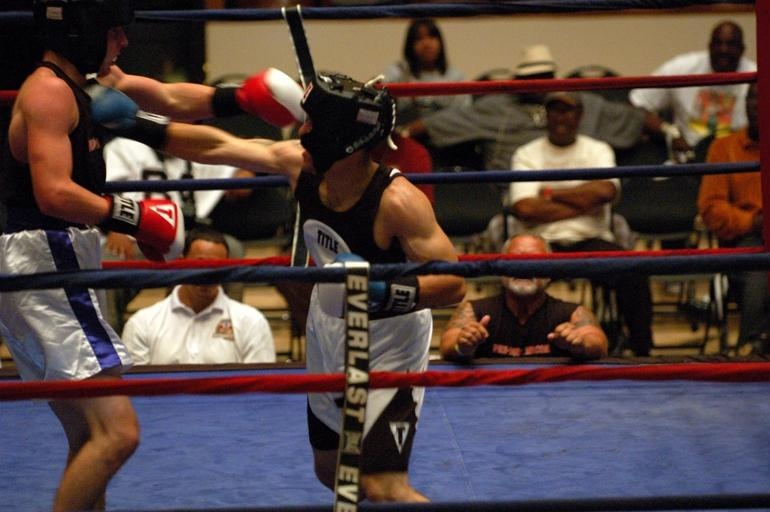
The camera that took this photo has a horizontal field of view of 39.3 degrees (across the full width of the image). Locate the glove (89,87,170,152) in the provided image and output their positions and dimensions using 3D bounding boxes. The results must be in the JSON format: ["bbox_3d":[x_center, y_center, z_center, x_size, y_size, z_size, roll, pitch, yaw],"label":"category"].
[{"bbox_3d":[-1.205,-0.653,5.016,0.352,0.157,0.244,22,20,-32],"label":"glove"}]

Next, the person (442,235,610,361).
[{"bbox_3d":[0.806,0.395,6.445,1.287,0.836,0.792,-1,-5,6],"label":"person"}]

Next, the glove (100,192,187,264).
[{"bbox_3d":[-1.119,-0.141,4.966,0.356,0.255,0.156,35,-19,-22],"label":"glove"}]

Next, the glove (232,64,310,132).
[{"bbox_3d":[-0.545,-0.773,5.213,0.263,0.135,0.368,40,21,25],"label":"glove"}]

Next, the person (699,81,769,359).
[{"bbox_3d":[2.221,-0.215,6.865,0.436,1.632,0.652,-1,14,11],"label":"person"}]

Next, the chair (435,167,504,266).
[{"bbox_3d":[0.608,-0.280,7.839,0.585,0.802,0.628,-1,-2,4],"label":"chair"}]

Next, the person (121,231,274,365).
[{"bbox_3d":[-1.051,0.173,6.676,1.224,1.056,0.642,-1,-6,-2],"label":"person"}]

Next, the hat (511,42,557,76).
[{"bbox_3d":[1.023,-1.342,7.399,0.293,0.208,0.318,-1,12,6],"label":"hat"}]

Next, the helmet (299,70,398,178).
[{"bbox_3d":[-0.204,-0.628,4.878,0.526,0.418,0.358,-12,41,-17],"label":"helmet"}]
